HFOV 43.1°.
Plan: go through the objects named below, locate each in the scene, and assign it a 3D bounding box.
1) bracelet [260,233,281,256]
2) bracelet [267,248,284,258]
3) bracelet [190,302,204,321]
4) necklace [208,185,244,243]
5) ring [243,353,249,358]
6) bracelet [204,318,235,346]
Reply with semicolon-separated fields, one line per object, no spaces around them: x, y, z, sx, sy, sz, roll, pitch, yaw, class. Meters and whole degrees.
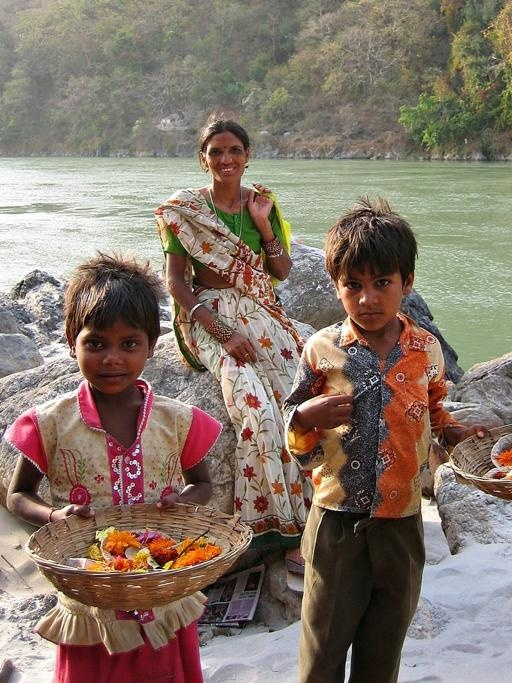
0.080;-0.488;3.348;0.101;0.083;0.101;-5;3;5;bracelet
0.093;-0.465;3.401;0.064;0.050;0.060;-7;4;6;bracelet
-0.289;-0.146;3.212;0.070;0.019;0.074;-37;-9;-25;bracelet
-0.152;-0.642;3.333;0.219;0.242;0.145;-2;-4;-28;necklace
-0.046;0.072;3.113;0.027;0.021;0.008;-5;-4;-27;ring
-0.175;-0.042;3.154;0.060;0.102;0.141;-50;32;-15;bracelet
